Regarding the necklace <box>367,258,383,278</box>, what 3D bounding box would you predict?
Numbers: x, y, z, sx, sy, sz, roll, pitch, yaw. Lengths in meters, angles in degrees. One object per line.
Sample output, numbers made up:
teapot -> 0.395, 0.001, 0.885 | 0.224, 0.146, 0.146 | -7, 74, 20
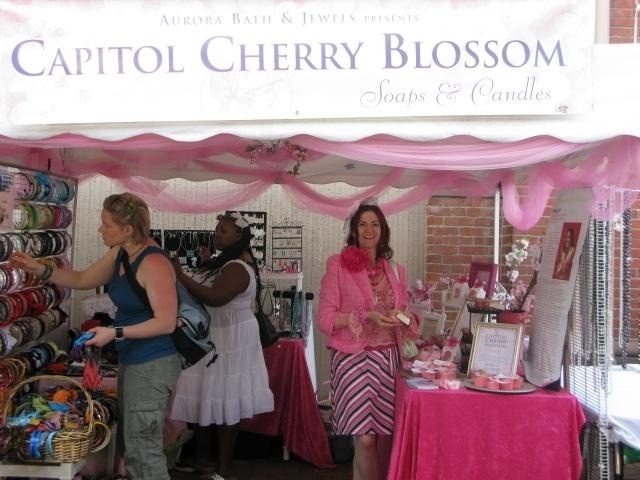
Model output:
necklace -> 0.358, 0.189, 3.336 | 0.095, 0.043, 0.106 | -25, 33, 20

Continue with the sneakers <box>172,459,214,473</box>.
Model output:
sneakers -> -1.024, 1.844, 4.189 | 0.355, 0.140, 0.122 | -4, -11, 17

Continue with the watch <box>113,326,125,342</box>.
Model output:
watch -> -1.119, 0.530, 2.912 | 0.070, 0.073, 0.073 | 3, -44, -13

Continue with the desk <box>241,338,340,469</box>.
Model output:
desk -> -0.189, 1.375, 4.800 | 1.048, 0.966, 0.918 | -5, 2, 8

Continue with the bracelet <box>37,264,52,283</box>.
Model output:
bracelet -> -1.784, 0.215, 3.359 | 0.059, 0.093, 0.105 | 14, -14, -25

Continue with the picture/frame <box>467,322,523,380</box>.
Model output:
picture/frame -> 1.051, 0.665, 3.069 | 0.297, 0.366, 0.028 | 7, -7, 27

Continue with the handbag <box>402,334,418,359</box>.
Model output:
handbag -> 0.587, 0.709, 3.413 | 0.059, 0.143, 0.108 | -15, 27, 6

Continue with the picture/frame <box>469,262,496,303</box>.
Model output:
picture/frame -> 1.153, 0.309, 3.649 | 0.037, 0.329, 0.250 | 19, -12, -32

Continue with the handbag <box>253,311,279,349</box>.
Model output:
handbag -> -0.445, 0.756, 4.264 | 0.150, 0.294, 0.293 | -22, -6, -2
